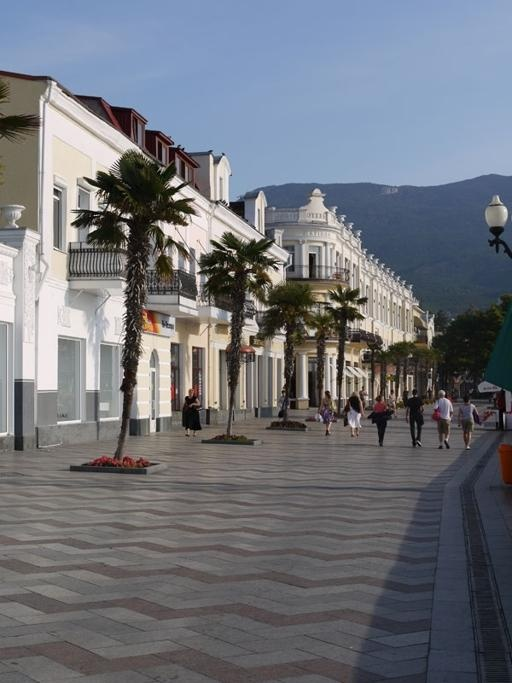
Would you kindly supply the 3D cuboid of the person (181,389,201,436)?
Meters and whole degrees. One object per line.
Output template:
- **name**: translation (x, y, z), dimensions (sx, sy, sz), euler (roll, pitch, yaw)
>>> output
- **person**: translation (-2.163, 2.375, 28.095), dimensions (0.532, 1.523, 2.250), euler (2, -3, -5)

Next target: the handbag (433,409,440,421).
- **handbag**: translation (4.979, 2.023, 23.256), dimensions (0.199, 0.245, 0.671), euler (1, -4, 9)
